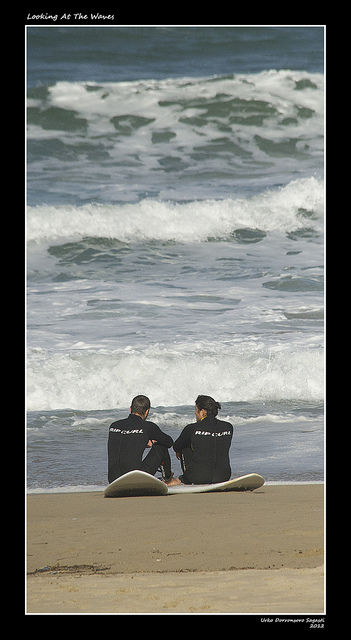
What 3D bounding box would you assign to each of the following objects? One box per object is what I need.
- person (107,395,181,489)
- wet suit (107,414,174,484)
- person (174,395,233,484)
[{"bbox_3d":[-0.325,1.330,13.319,0.666,1.047,0.701,-2,10,10],"label":"person"},{"bbox_3d":[-0.403,1.419,13.428,0.792,0.839,0.796,-2,-1,-26],"label":"wet suit"},{"bbox_3d":[0.290,1.306,13.495,0.607,0.995,0.662,3,2,10],"label":"person"}]
